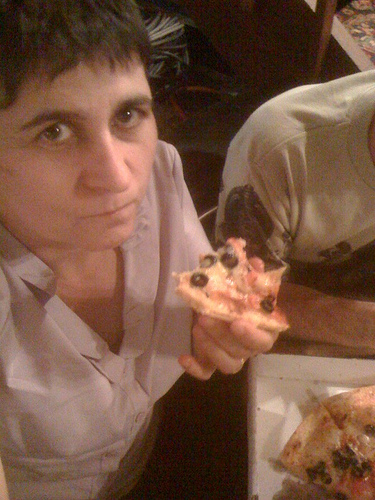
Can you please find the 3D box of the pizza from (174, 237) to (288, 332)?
[{"bbox_3d":[0.106,0.060,1.326,0.114,0.350,0.213,-15,56,51],"label":"pizza"}]
